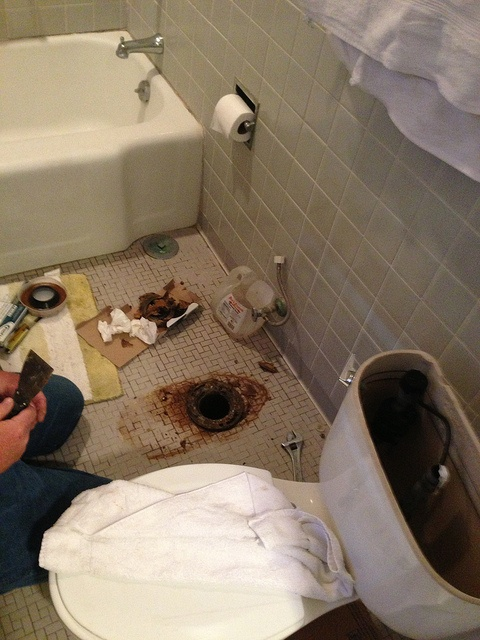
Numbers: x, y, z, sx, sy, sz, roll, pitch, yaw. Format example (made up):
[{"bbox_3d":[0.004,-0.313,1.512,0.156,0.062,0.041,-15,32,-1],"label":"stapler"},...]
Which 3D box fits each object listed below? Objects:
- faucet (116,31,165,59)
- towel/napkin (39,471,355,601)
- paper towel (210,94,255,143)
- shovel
[{"bbox_3d":[-0.379,-1.023,1.737,0.161,0.093,0.103,-16,42,-21],"label":"faucet"},{"bbox_3d":[-0.073,0.379,0.782,0.471,0.101,0.248,14,51,-5],"label":"towel/napkin"},{"bbox_3d":[-0.012,-0.562,1.355,0.077,0.092,0.102,21,11,-21],"label":"paper towel"},{"bbox_3d":[-0.380,0.133,0.824,0.059,0.222,0.011,36,39,-2],"label":"shovel"}]
